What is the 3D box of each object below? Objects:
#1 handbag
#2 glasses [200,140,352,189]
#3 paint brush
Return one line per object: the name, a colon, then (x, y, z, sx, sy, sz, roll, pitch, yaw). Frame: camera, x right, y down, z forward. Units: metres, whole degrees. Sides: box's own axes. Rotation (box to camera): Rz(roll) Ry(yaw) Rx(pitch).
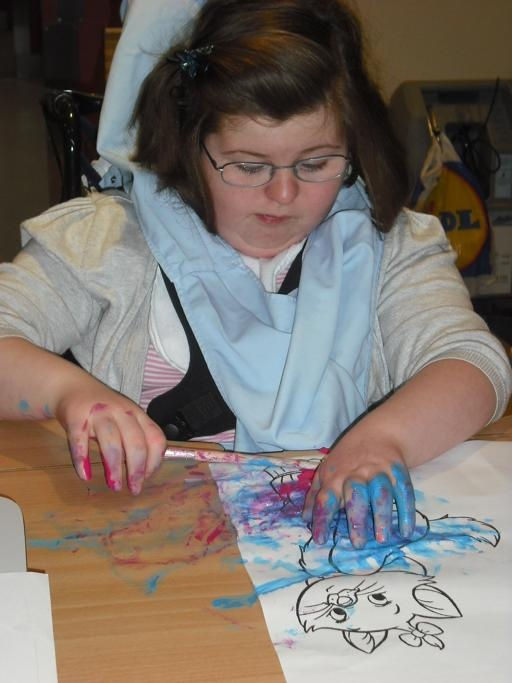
handbag: (0.633, -0.423, 2.110, 0.286, 0.608, 0.324, 3, 26, 10)
glasses: (0.023, -0.212, 0.764, 0.172, 0.051, 0.064, -2, 15, -6)
paint brush: (-0.015, 0.124, 0.663, 0.210, 0.023, 0.030, 0, 20, -9)
